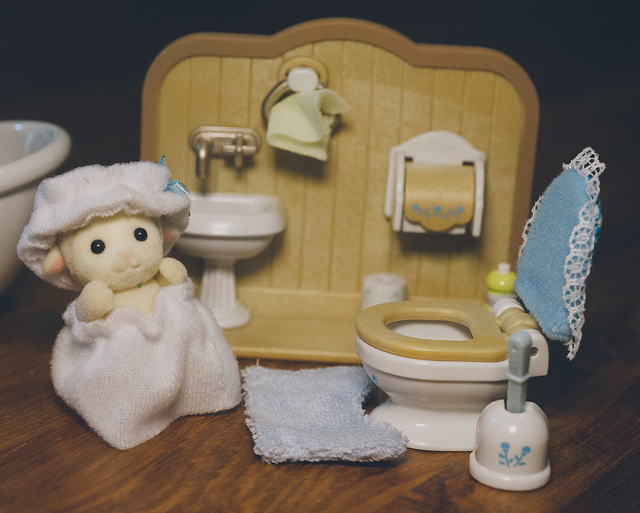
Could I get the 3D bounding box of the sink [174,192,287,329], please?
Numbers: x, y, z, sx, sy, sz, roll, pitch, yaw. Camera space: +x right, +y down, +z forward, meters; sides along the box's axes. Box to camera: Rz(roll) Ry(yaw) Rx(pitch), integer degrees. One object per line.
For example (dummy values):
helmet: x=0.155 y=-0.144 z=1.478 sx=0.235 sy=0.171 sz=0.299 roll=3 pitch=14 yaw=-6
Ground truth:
sink: x=-0.347 y=0.012 z=2.955 sx=0.440 sy=0.488 sz=0.517 roll=-1 pitch=14 yaw=-12

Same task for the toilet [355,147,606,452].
toilet: x=0.444 y=0.129 z=2.384 sx=0.717 sy=0.823 sz=0.531 roll=-1 pitch=17 yaw=-4

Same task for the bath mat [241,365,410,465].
bath mat: x=-0.006 y=0.496 z=2.507 sx=0.475 sy=0.112 sz=0.570 roll=-6 pitch=20 yaw=-1
